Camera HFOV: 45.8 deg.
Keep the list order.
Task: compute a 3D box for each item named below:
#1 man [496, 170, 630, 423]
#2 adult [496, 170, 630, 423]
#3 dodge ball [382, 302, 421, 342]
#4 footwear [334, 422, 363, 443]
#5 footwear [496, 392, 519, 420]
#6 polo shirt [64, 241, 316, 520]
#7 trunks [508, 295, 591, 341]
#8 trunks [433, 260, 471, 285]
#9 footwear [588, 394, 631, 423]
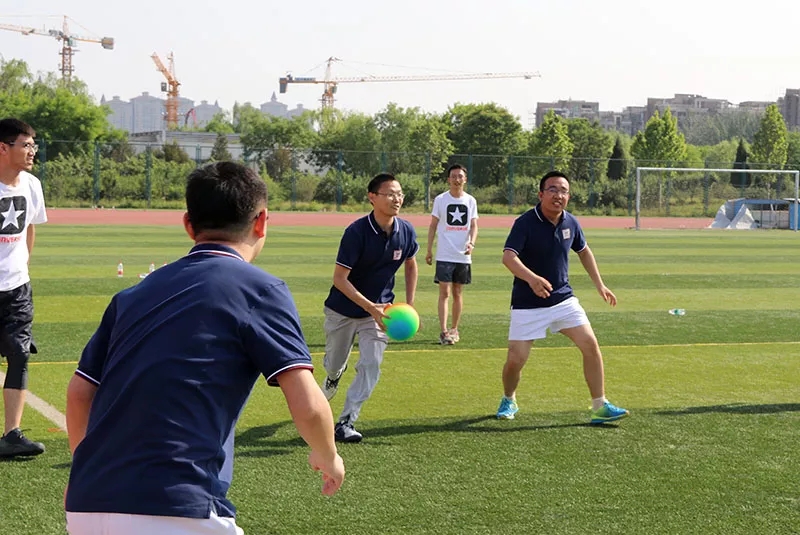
[{"bbox_3d":[1.486,0.262,8.889,1.035,2.264,0.907,3,13,9],"label":"man"},{"bbox_3d":[1.489,0.261,8.891,1.028,2.264,0.899,3,13,10],"label":"adult"},{"bbox_3d":[0.004,0.503,8.602,0.358,0.368,0.352,1,-7,0],"label":"dodge ball"},{"bbox_3d":[-0.413,1.440,8.253,0.306,0.113,0.111,1,5,8],"label":"footwear"},{"bbox_3d":[1.013,1.329,8.941,0.119,0.129,0.308,0,-1,15],"label":"footwear"},{"bbox_3d":[-1.226,0.638,5.322,1.317,1.479,0.551,-1,13,-6],"label":"polo shirt"},{"bbox_3d":[1.401,0.463,8.930,0.758,0.329,0.265,-12,10,1],"label":"trunks"},{"bbox_3d":[0.664,0.083,12.351,0.544,0.346,0.297,3,-7,-22],"label":"trunks"},{"bbox_3d":[1.898,1.321,8.696,0.449,0.227,0.152,-2,9,-2],"label":"footwear"}]
